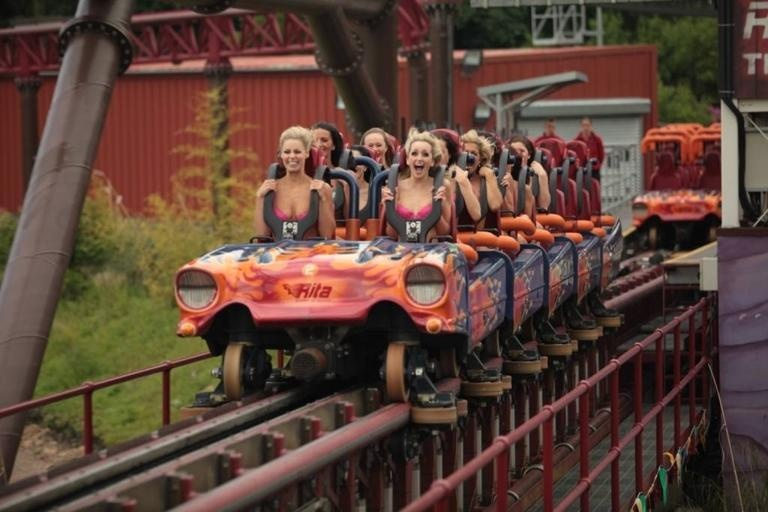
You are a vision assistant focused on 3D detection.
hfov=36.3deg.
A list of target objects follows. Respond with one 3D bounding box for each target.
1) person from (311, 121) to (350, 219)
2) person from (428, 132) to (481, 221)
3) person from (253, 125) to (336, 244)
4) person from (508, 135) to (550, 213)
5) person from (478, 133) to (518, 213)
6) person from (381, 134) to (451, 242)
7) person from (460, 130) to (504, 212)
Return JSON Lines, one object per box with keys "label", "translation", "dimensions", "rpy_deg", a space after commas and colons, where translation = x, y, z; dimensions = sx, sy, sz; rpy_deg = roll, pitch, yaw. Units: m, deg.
{"label": "person", "translation": [-0.721, -1.030, 14.304], "dimensions": [0.657, 1.075, 0.354], "rpy_deg": [7, 4, 29]}
{"label": "person", "translation": [0.831, -0.929, 14.050], "dimensions": [0.642, 1.054, 0.495], "rpy_deg": [-3, 2, 25]}
{"label": "person", "translation": [-1.060, -0.807, 13.343], "dimensions": [0.899, 1.252, 0.373], "rpy_deg": [-2, 3, -9]}
{"label": "person", "translation": [2.198, -1.166, 17.221], "dimensions": [0.682, 1.098, 0.389], "rpy_deg": [7, 11, 34]}
{"label": "person", "translation": [1.594, -1.079, 15.561], "dimensions": [0.596, 0.924, 0.921], "rpy_deg": [2, 14, 7]}
{"label": "person", "translation": [0.355, -0.762, 13.303], "dimensions": [0.778, 1.221, 0.404], "rpy_deg": [-1, 3, 2]}
{"label": "person", "translation": [1.229, -1.049, 14.641], "dimensions": [0.287, 0.912, 0.632], "rpy_deg": [-6, 14, 13]}
